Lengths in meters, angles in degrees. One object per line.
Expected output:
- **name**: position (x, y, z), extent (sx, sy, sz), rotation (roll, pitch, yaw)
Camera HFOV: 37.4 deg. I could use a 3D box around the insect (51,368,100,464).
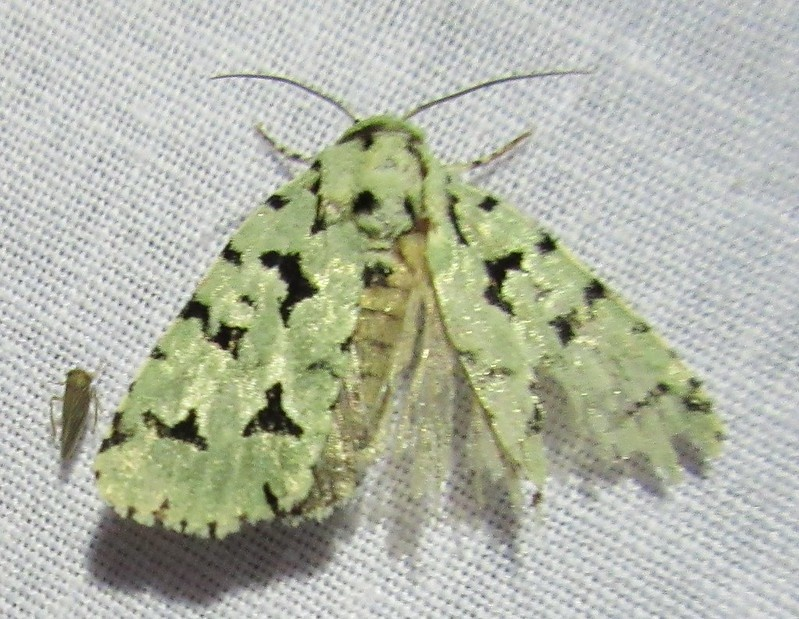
- **insect**: position (-0.869, 0.278, 3.184), extent (0.140, 0.076, 0.232), rotation (4, 87, 1)
